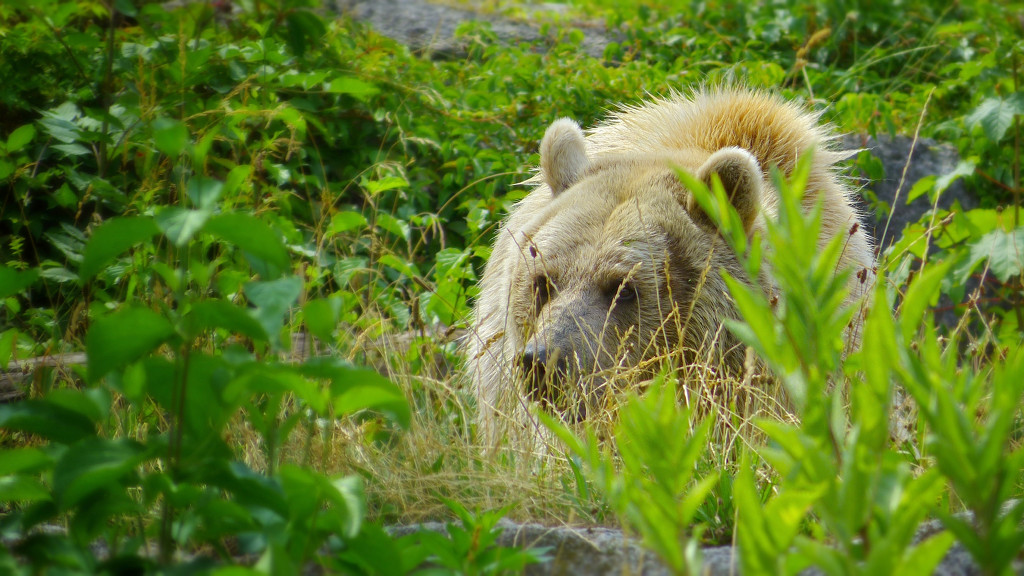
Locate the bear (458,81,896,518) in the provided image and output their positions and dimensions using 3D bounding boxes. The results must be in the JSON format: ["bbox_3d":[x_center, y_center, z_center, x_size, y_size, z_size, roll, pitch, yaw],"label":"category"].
[{"bbox_3d":[0.828,-0.159,6.369,1.993,2.277,1.744,8,11,-11],"label":"bear"}]
